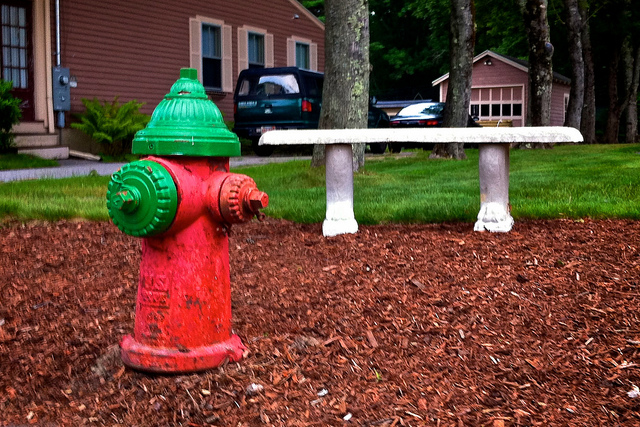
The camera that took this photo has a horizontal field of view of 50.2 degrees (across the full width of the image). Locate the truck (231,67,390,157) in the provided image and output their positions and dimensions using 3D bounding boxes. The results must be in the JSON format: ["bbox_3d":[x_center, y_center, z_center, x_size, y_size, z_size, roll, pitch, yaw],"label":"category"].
[{"bbox_3d":[-0.410,-2.862,19.288,2.310,1.959,4.414,4,10,29],"label":"truck"}]

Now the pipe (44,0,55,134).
[{"bbox_3d":[-6.317,-3.412,15.882,0.167,2.996,0.497,-3,9,-18],"label":"pipe"}]

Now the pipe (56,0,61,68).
[{"bbox_3d":[-6.138,-4.167,15.959,0.107,1.517,0.526,-3,9,-20],"label":"pipe"}]

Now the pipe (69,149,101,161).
[{"bbox_3d":[-5.394,-1.347,15.796,0.924,0.203,0.449,6,13,28],"label":"pipe"}]
